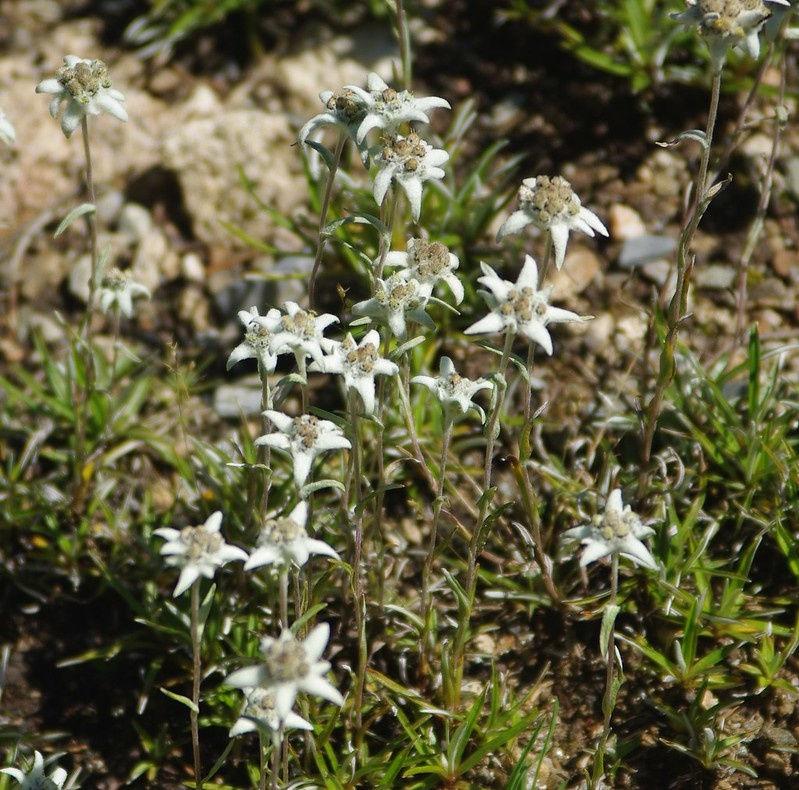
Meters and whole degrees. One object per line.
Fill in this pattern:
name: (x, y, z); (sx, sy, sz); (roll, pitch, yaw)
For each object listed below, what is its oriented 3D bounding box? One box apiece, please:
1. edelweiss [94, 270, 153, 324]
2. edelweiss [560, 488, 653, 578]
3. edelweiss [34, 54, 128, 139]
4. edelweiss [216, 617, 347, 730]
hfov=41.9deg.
edelweiss: (-1.283, -0.474, 4.809); (0.174, 0.185, 0.194); (14, 24, 23)
edelweiss: (0.820, 0.530, 3.935); (0.314, 0.116, 0.336); (-11, 18, -2)
edelweiss: (-1.352, -1.277, 4.397); (0.473, 0.234, 0.525); (16, 21, 4)
edelweiss: (-0.379, 0.958, 3.608); (0.352, 0.097, 0.366); (34, 55, 12)
